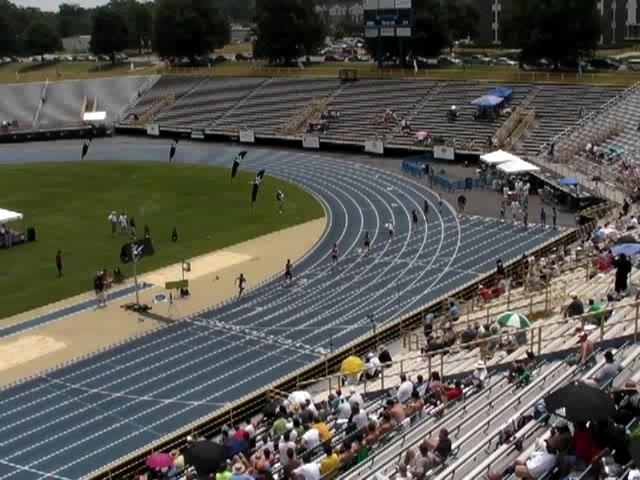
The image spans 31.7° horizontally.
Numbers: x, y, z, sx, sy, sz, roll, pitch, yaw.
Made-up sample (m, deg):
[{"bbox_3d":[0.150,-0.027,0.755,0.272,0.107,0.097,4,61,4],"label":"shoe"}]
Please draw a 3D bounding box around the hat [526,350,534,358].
[{"bbox_3d":[10.072,5.498,53.907,0.378,0.400,0.308,3,24,32],"label":"hat"}]

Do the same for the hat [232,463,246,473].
[{"bbox_3d":[-3.633,10.289,50.874,0.389,0.441,0.418,22,58,8],"label":"hat"}]

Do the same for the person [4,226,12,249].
[{"bbox_3d":[-22.419,-0.153,80.635,0.426,1.293,0.819,-2,16,8],"label":"person"}]
